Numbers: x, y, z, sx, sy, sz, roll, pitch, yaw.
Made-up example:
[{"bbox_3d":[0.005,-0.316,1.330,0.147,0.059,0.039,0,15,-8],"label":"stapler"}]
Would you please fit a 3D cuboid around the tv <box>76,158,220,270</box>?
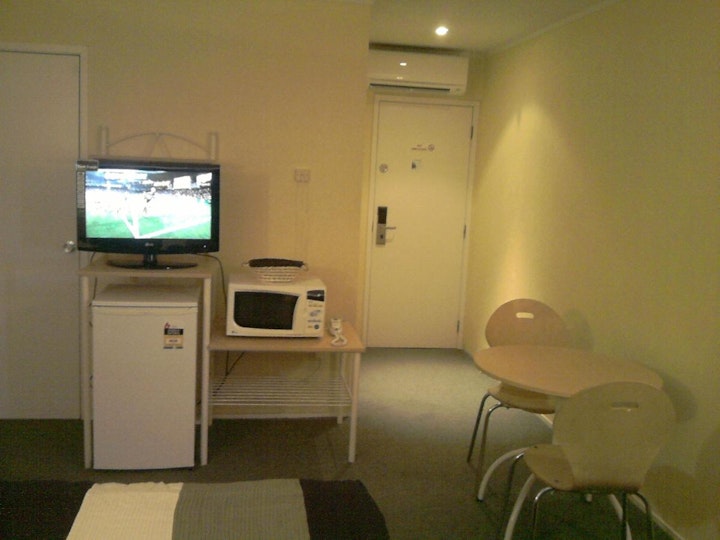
[{"bbox_3d":[-0.854,-0.233,2.471,0.485,0.361,0.121,1,1,-9],"label":"tv"}]
